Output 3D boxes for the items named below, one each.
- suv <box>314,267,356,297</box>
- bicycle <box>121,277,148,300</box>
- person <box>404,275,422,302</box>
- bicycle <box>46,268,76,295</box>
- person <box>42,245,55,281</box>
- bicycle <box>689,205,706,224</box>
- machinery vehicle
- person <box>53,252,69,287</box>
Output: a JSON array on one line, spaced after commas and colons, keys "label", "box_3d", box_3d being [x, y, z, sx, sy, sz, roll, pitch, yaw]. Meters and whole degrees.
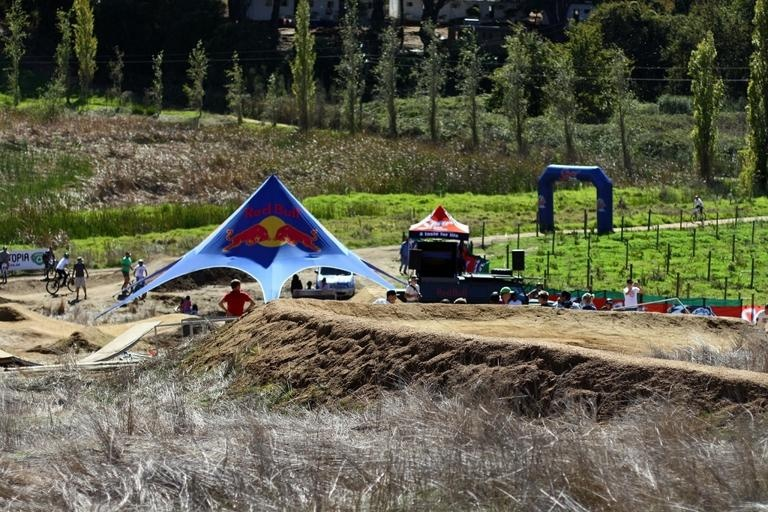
[{"label": "suv", "box_3d": [-2.802, 1.548, 80.796, 2.361, 1.673, 2.204, 1, 6, -2]}, {"label": "bicycle", "box_3d": [-14.168, 2.063, 79.816, 1.482, 0.413, 1.477, -4, 31, 38]}, {"label": "person", "box_3d": [1.519, 1.811, 73.926, 0.800, 1.264, 1.929, 1, 6, 1]}, {"label": "bicycle", "box_3d": [-19.170, 1.589, 83.056, 1.813, 1.409, 0.973, -2, 6, -17]}, {"label": "person", "box_3d": [-20.063, 0.545, 83.848, 0.757, 2.009, 0.663, -8, 42, -30]}, {"label": "bicycle", "box_3d": [20.517, -2.698, 91.710, 0.647, 0.943, 1.409, 0, 7, 22]}, {"label": "machinery vehicle", "box_3d": [4.966, 1.965, 77.211, 6.437, 4.769, 4.167, -2, -9, 20]}, {"label": "person", "box_3d": [-19.027, 0.813, 82.900, 0.666, 1.852, 1.190, -1, 6, -15]}]
